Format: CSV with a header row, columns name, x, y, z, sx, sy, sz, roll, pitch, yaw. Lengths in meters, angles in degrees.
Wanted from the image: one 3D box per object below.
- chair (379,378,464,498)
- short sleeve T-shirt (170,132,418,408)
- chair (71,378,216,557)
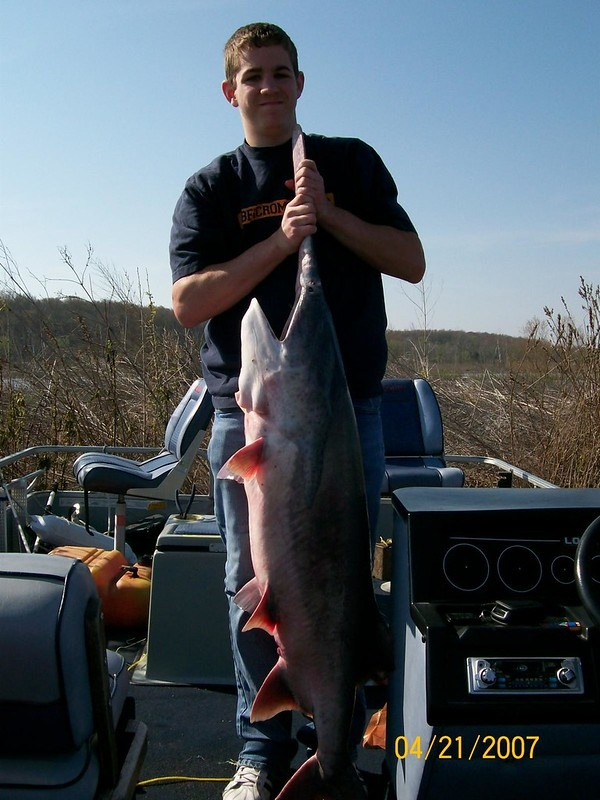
name,x,y,z,sx,sy,sz,roll,pitch,yaw
chair,0.801,0.233,4.855,0.687,0.978,0.853,-4,-10,13
short sleeve T-shirt,-0.019,-0.318,1.569,0.581,0.766,0.377,-3,1,-2
chair,-1.032,0.512,4.308,0.759,1.342,0.735,6,0,-22
